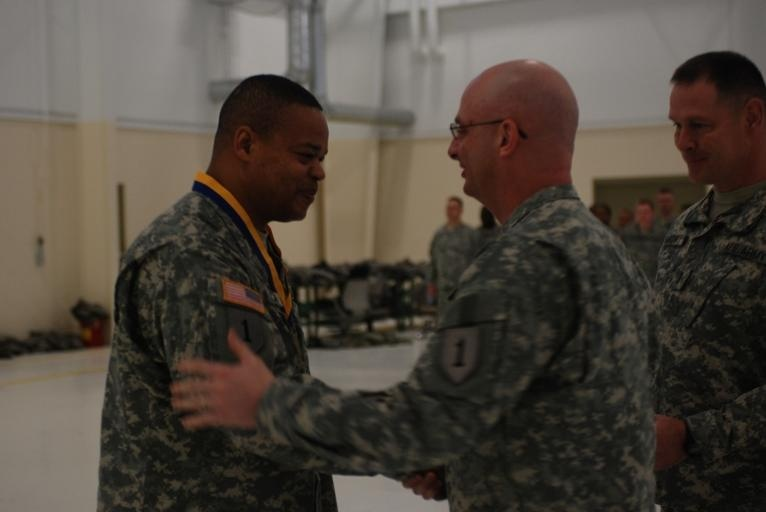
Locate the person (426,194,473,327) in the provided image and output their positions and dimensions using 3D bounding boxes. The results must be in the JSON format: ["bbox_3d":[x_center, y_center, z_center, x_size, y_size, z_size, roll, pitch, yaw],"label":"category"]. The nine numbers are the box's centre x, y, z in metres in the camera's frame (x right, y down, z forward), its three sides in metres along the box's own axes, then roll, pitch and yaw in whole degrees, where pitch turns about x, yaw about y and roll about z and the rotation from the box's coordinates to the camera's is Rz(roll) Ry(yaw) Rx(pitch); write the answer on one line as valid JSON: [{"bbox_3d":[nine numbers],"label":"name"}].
[{"bbox_3d":[0.816,0.266,13.342,0.585,2.033,0.381,1,28,2],"label":"person"}]
